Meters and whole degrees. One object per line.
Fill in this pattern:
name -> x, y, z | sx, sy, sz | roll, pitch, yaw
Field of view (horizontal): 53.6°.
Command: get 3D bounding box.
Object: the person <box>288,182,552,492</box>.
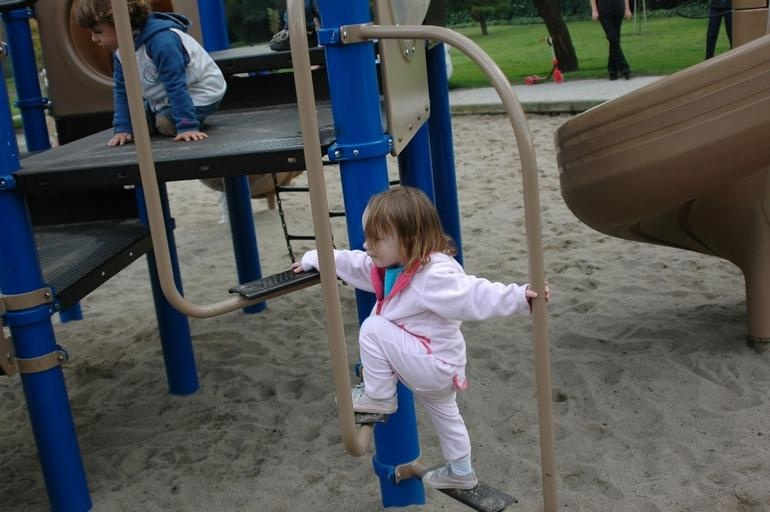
person -> 0.176, 0.343, 3.039 | 0.703, 1.210, 0.435 | -5, 17, -1

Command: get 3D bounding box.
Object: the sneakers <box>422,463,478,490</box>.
sneakers -> 0.268, 0.885, 3.161 | 0.215, 0.088, 0.103 | 3, 4, 25

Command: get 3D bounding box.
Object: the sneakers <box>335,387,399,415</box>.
sneakers -> -0.065, 0.572, 3.065 | 0.225, 0.111, 0.086 | 4, -1, 2
